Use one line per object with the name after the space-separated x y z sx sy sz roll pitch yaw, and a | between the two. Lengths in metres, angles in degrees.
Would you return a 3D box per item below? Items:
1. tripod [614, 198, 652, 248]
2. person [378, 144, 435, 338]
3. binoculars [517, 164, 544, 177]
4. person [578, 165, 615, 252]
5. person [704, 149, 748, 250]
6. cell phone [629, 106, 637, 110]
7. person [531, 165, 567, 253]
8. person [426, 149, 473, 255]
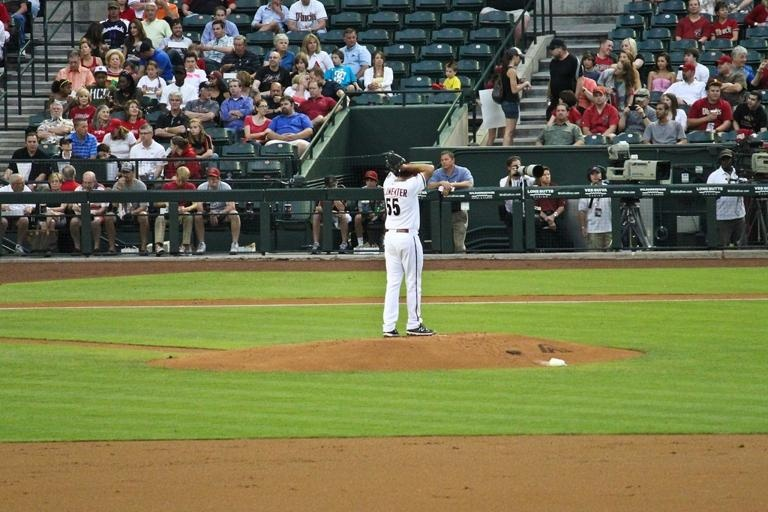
4.941 -0.599 41.647 0.603 1.028 0.406 -1 -2 6 | tripod
0.269 -0.113 35.537 0.941 3.135 1.236 3 -5 -38 | person
2.868 -1.646 41.106 0.220 0.215 0.566 17 -11 -29 | binoculars
4.195 -0.909 41.709 0.606 1.741 0.523 1 1 9 | person
6.772 -1.063 41.806 0.613 2.013 0.718 4 -8 -6 | person
4.988 -3.006 42.398 0.134 0.105 0.275 0 -3 0 | cell phone
3.302 -0.624 41.879 0.617 0.994 0.313 -1 -2 14 | person
1.303 -1.076 41.918 0.860 2.030 0.651 1 0 20 | person
